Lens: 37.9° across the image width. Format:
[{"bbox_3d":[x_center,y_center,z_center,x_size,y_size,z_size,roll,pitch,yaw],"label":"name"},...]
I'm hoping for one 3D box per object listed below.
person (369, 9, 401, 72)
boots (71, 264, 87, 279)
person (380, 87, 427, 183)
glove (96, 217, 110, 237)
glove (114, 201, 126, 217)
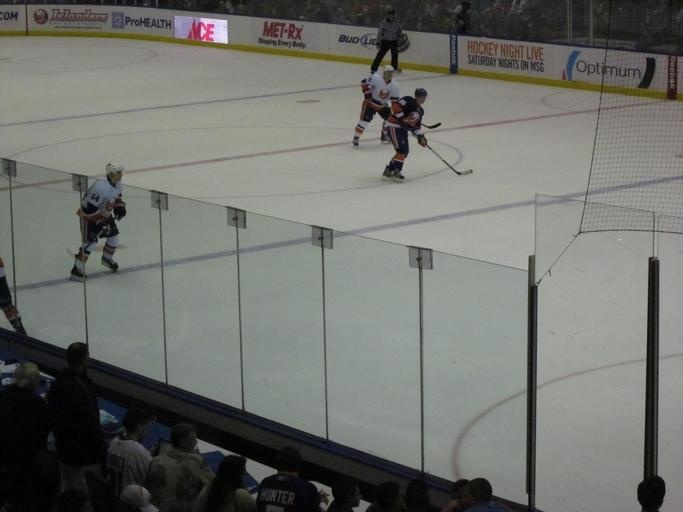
[{"bbox_3d":[0.978,-4.573,21.271,0.586,1.341,1.345,4,13,2],"label":"person"},{"bbox_3d":[-2.357,0.151,8.963,0.178,0.111,0.084,10,16,34],"label":"boots"},{"bbox_3d":[0.936,-1.782,14.468,0.592,1.313,0.800,4,13,3],"label":"person"},{"bbox_3d":[-2.101,-0.238,8.791,0.129,0.165,0.166,7,-3,0],"label":"glove"},{"bbox_3d":[-1.948,-0.412,8.797,0.073,0.153,0.115,-3,16,-36],"label":"glove"}]
